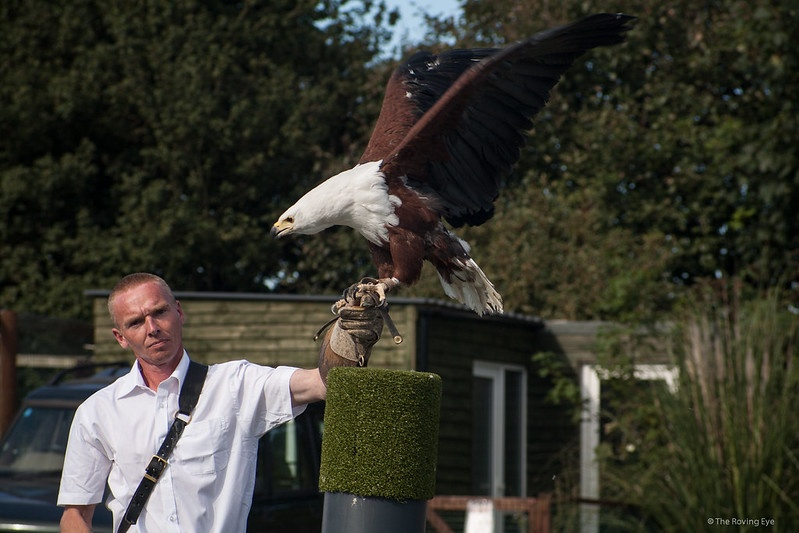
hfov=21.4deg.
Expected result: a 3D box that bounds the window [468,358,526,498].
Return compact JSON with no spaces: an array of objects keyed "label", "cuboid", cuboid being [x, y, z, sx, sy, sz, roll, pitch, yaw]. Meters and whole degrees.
[{"label":"window","cuboid":[1.536,2.593,32.960,0.821,2.248,0.188,0,-18,5]}]

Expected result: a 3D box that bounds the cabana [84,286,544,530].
[{"label":"cabana","cuboid":[0.126,2.115,38.156,4.969,3.258,4.906,9,-13,-44]}]
